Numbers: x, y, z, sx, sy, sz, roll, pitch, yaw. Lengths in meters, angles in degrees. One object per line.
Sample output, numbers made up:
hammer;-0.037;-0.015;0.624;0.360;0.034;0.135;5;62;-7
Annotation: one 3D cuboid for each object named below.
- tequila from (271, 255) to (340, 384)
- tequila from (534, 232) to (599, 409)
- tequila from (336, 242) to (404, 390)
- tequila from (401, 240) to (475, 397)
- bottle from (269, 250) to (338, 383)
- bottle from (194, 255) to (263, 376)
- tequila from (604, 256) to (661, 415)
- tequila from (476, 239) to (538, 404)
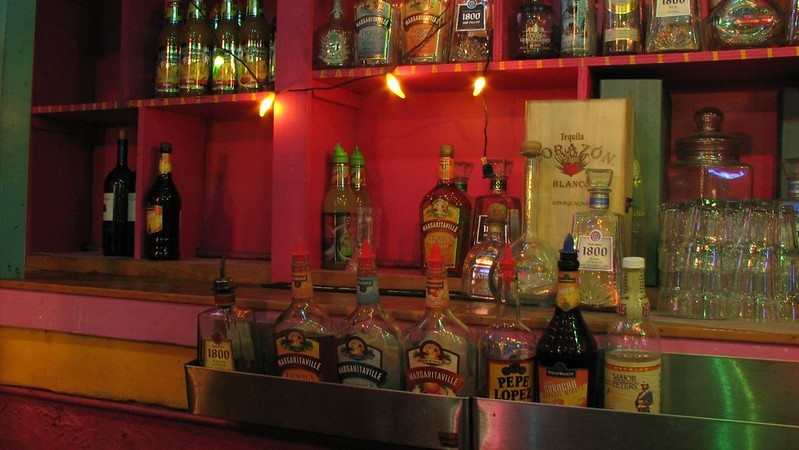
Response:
tequila;-0.306;0.360;2.267;0.243;0.561;0.147;-1;3;19
tequila;0.516;0.289;2.118;0.183;0.519;0.101;1;-2;11
tequila;-0.088;0.280;2.160;0.208;0.462;0.104;1;-2;-6
tequila;0.125;0.335;2.195;0.256;0.610;0.153;3;24;14
bottle;-0.296;0.280;2.194;0.203;0.429;0.133;2;-2;-11
bottle;-0.574;0.297;2.272;0.228;0.369;0.171;1;-1;0
tequila;0.729;0.331;2.111;0.180;0.466;0.158;2;-2;-11
tequila;0.333;0.304;2.120;0.171;0.460;0.089;1;-2;9
